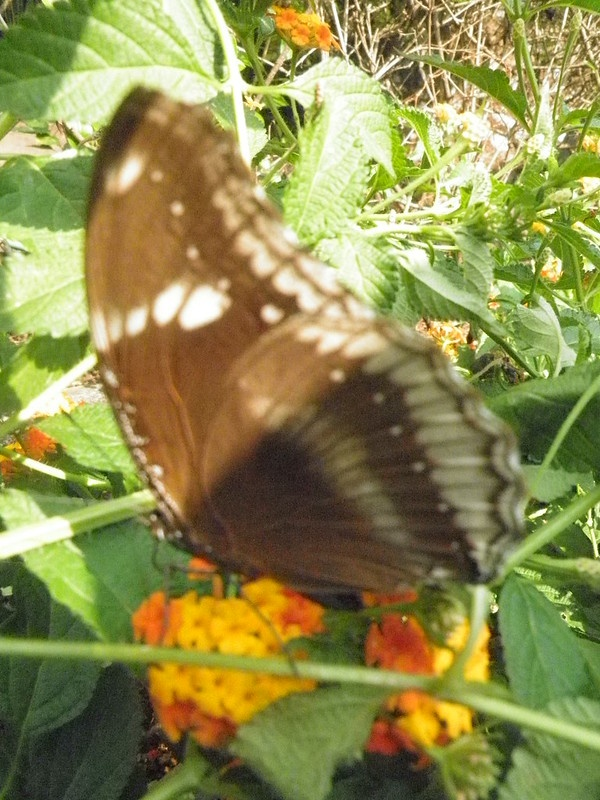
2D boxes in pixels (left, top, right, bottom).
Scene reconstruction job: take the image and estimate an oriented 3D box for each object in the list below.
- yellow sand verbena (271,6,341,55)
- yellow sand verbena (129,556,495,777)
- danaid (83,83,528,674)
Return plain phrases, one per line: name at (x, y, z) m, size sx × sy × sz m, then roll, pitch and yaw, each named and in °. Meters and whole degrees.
yellow sand verbena at (0.025, -0.754, 1.798) m, size 0.164 × 0.127 × 0.149 m, roll -7°, pitch 26°, yaw -8°
yellow sand verbena at (0.006, 0.235, 0.731) m, size 0.255 × 0.089 × 0.169 m, roll -4°, pitch 88°, yaw 0°
danaid at (-0.035, 0.006, 0.693) m, size 0.418 × 0.390 × 0.220 m, roll 40°, pitch 75°, yaw 24°
